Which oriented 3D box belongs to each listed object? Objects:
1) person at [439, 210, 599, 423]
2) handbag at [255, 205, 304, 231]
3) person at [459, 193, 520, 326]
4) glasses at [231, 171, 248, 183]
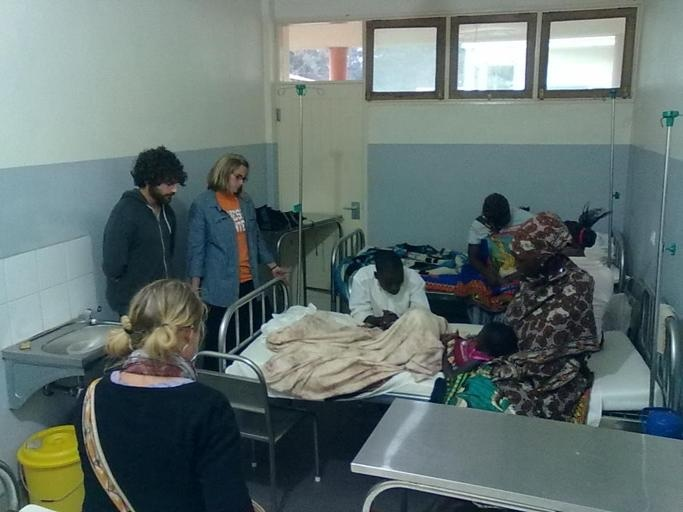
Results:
[{"bbox_3d":[0.878,0.277,2.934,0.681,0.928,0.737,-5,15,-9],"label":"person"},{"bbox_3d":[-0.484,-0.275,4.498,0.267,0.097,0.212,1,38,-17],"label":"handbag"},{"bbox_3d":[1.022,0.038,3.901,0.597,0.892,0.493,-1,21,10],"label":"person"},{"bbox_3d":[-0.613,-0.472,3.514,0.026,0.083,0.079,-5,-14,42],"label":"glasses"}]
